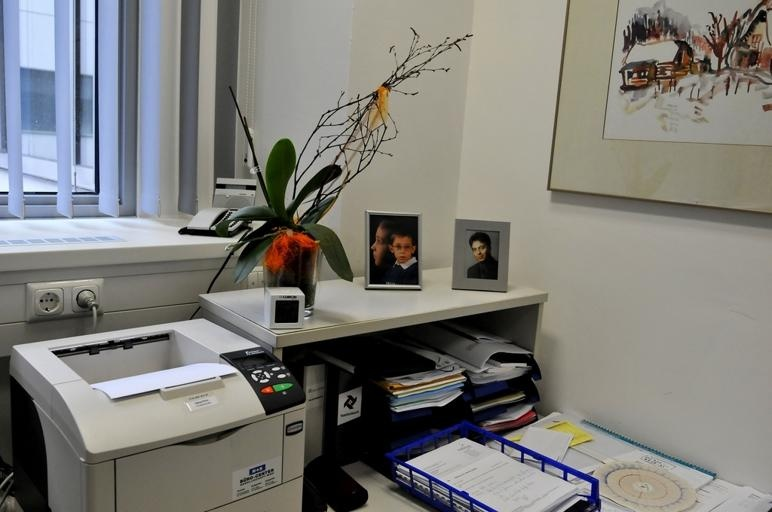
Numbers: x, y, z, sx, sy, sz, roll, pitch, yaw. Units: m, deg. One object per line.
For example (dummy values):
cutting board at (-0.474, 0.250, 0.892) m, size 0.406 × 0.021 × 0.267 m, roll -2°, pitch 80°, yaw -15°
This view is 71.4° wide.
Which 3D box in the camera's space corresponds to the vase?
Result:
vase at (-0.293, 0.051, 1.656) m, size 0.192 × 0.270 × 0.196 m, roll 5°, pitch 14°, yaw 15°

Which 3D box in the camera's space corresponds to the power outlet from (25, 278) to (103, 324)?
power outlet at (-0.923, 0.136, 1.559) m, size 0.194 × 0.130 × 0.097 m, roll -3°, pitch 26°, yaw -41°
